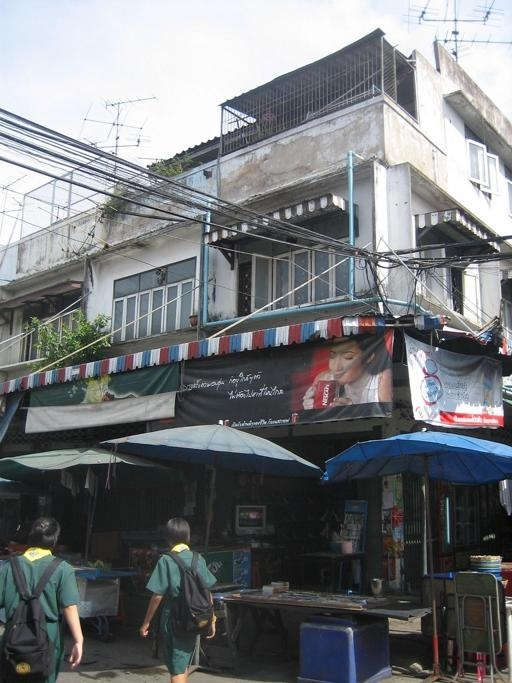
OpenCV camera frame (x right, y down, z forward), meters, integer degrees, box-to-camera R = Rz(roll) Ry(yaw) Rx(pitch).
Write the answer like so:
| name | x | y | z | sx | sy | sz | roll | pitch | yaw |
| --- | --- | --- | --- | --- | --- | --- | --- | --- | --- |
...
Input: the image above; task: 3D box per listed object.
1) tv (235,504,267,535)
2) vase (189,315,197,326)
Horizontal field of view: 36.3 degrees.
| name | x | y | z | sx | sy | sz | roll | pitch | yaw |
| --- | --- | --- | --- | --- | --- | --- | --- | --- | --- |
| tv | -0.069 | 2.464 | 10.702 | 0.483 | 0.384 | 0.265 | 3 | 0 | -15 |
| vase | -1.115 | -0.380 | 13.945 | 0.192 | 0.131 | 0.185 | 0 | -15 | 2 |
